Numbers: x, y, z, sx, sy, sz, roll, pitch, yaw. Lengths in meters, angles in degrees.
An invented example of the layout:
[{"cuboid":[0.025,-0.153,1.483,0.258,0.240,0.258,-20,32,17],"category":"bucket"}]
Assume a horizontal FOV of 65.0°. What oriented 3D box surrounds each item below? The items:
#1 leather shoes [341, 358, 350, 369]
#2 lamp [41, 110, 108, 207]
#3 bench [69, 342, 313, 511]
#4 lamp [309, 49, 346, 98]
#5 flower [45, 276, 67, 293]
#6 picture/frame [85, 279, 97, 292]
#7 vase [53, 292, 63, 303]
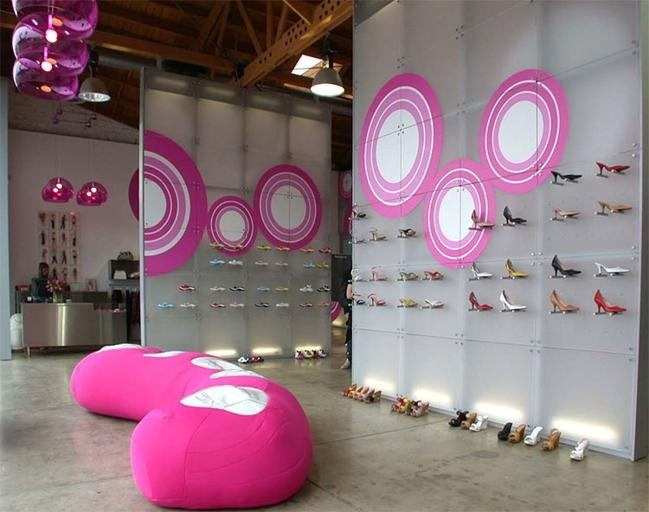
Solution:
[{"cuboid":[0.346,1.768,8.373,0.135,0.145,0.390,1,-4,2],"category":"leather shoes"},{"cuboid":[-5.322,-1.919,10.840,1.315,1.302,0.634,0,4,-20],"category":"lamp"},{"cuboid":[-1.373,1.368,4.661,1.249,0.833,3.298,4,-5,-35],"category":"bench"},{"cuboid":[0.074,-2.732,7.490,0.567,0.663,0.590,-1,5,-17],"category":"lamp"},{"cuboid":[-5.742,0.613,10.887,0.215,0.233,0.195,-9,43,-14],"category":"flower"},{"cuboid":[-5.818,0.701,12.743,0.270,0.289,0.171,3,-3,-32],"category":"picture/frame"},{"cuboid":[-5.191,0.800,9.955,0.169,0.220,0.177,-1,5,-19],"category":"vase"}]
